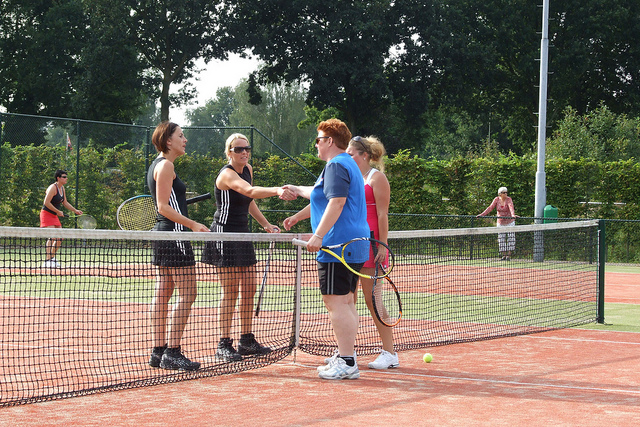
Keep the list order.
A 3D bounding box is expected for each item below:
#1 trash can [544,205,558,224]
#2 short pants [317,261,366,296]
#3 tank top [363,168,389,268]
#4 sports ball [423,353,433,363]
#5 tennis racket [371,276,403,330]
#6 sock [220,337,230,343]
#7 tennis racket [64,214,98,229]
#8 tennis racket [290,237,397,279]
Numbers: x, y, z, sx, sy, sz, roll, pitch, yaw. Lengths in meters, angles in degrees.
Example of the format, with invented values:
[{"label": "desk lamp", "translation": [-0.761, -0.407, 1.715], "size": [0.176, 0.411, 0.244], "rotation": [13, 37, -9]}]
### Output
[{"label": "trash can", "translation": [6.670, -0.001, 24.168], "size": [0.357, 0.550, 2.077], "rotation": [0, -2, 15]}, {"label": "short pants", "translation": [0.315, 0.912, 12.511], "size": [0.471, 0.497, 0.683], "rotation": [1, -1, 36]}, {"label": "tank top", "translation": [0.826, 0.075, 13.198], "size": [0.419, 1.441, 0.424], "rotation": [-2, -1, 26]}, {"label": "sports ball", "translation": [1.751, 2.317, 13.534], "size": [0.151, 0.118, 0.255], "rotation": [0, -2, 11]}, {"label": "tennis racket", "translation": [1.136, 1.538, 14.218], "size": [0.445, 0.130, 1.635], "rotation": [37, 6, 5]}, {"label": "sock", "translation": [-1.488, 1.977, 13.179], "size": [0.147, 0.078, 0.045], "rotation": [1, -1, -14]}, {"label": "tennis racket", "translation": [-5.856, 0.185, 20.915], "size": [0.438, 0.384, 2.788], "rotation": [1, -2, -19]}, {"label": "tennis racket", "translation": [0.383, 0.573, 12.664], "size": [1.642, 0.681, 0.096], "rotation": [4, 23, -8]}]
